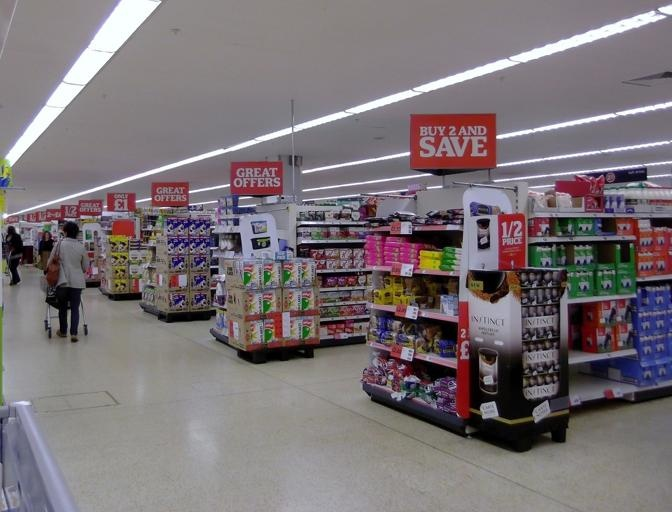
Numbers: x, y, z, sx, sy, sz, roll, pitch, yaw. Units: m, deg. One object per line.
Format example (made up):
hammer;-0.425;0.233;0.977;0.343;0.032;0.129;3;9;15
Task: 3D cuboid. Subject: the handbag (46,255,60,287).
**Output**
handbag;-4.476;0.242;8.015;0.184;0.466;0.187;-4;4;-31

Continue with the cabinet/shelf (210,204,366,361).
cabinet/shelf;-0.761;0.294;8.495;2.299;2.446;2.449;3;-3;-24

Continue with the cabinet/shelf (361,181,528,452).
cabinet/shelf;1.056;0.414;5.085;0.881;2.359;1.378;3;-3;-26

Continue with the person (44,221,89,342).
person;-4.448;0.446;8.361;0.607;2.011;0.892;-4;4;-31

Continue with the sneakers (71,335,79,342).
sneakers;-4.403;1.382;8.516;0.061;0.064;0.157;1;4;-5

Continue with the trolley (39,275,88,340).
trolley;-4.786;1.015;9.006;0.609;0.898;0.688;-17;-23;29
